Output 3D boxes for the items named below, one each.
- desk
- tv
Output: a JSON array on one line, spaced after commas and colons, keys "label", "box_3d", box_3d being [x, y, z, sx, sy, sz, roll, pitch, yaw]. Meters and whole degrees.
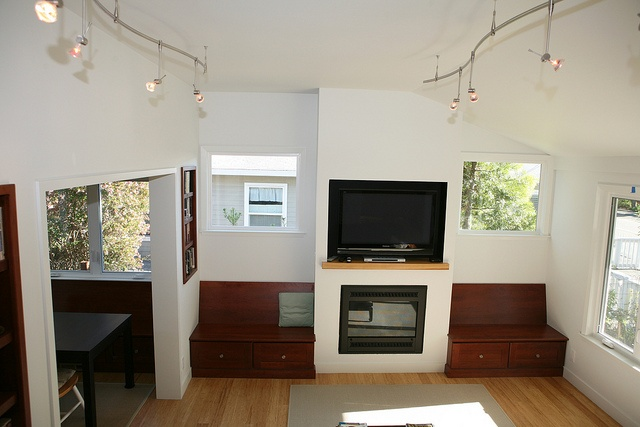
[{"label": "desk", "box_3d": [-2.469, 1.637, 5.285, 1.071, 0.757, 1.045, 0, 5, -1]}, {"label": "tv", "box_3d": [0.790, 0.039, 5.938, 1.085, 0.719, 0.108, 0, 10, -2]}]
